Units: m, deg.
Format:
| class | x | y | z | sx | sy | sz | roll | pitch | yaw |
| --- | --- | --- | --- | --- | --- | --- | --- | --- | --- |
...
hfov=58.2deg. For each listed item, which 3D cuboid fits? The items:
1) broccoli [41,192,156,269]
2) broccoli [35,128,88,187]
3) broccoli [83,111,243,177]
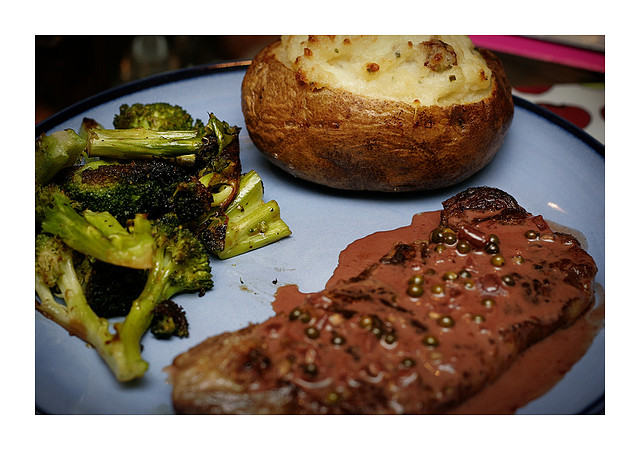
| class | x | y | z | sx | sy | sz | roll | pitch | yaw |
| --- | --- | --- | --- | --- | --- | --- | --- | --- | --- |
| broccoli | -1.017 | 0.024 | 2.615 | 0.580 | 0.157 | 0.205 | 13 | 52 | 11 |
| broccoli | -1.288 | -0.345 | 2.942 | 0.291 | 0.247 | 0.309 | -6 | 20 | -26 |
| broccoli | -0.811 | -0.388 | 3.020 | 0.729 | 0.458 | 0.296 | 0 | 82 | -10 |
